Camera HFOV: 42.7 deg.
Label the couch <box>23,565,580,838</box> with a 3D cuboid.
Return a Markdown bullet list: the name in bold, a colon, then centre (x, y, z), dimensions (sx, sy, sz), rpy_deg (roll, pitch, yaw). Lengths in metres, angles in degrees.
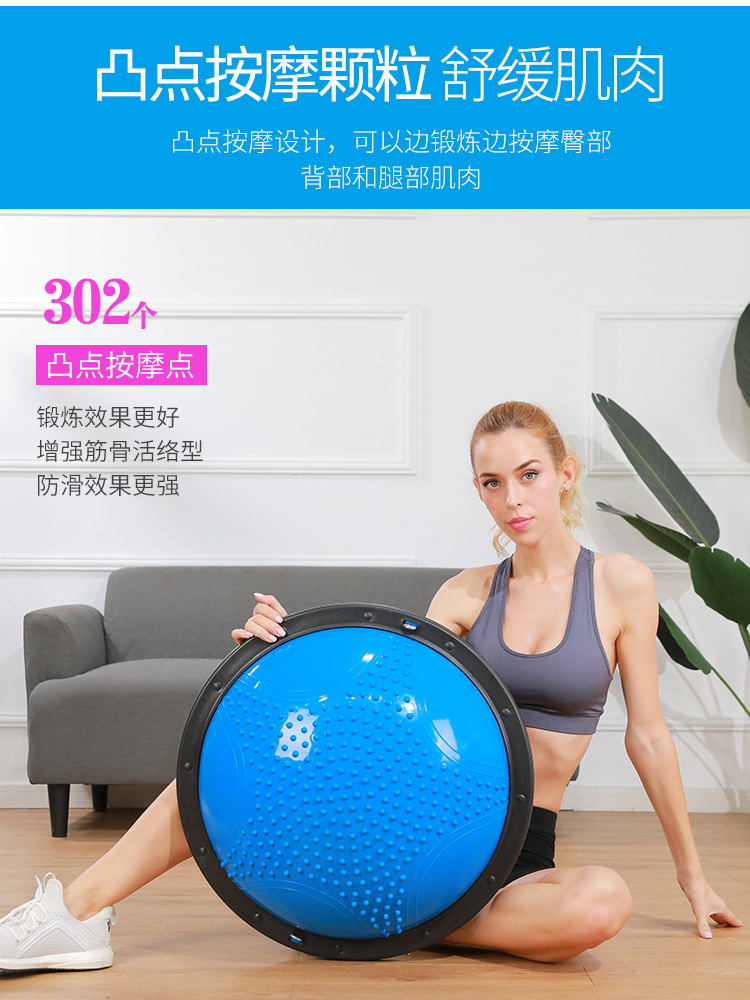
- **couch**: centre (-0.356, 0.543, 2.641), dimensions (1.143, 0.710, 0.515), rpy_deg (-3, -2, 14)

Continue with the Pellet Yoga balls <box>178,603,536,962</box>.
- **Pellet Yoga balls**: centre (-0.033, 0.416, 1.390), dimensions (0.516, 0.526, 0.193), rpy_deg (1, -5, -7)

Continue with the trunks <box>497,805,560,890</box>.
- **trunks**: centre (0.253, 0.573, 1.588), dimensions (0.099, 0.091, 0.122), rpy_deg (4, -7, 6)

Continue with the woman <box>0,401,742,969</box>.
- **woman**: centre (0.044, 0.377, 1.863), dimensions (1.411, 0.987, 0.683), rpy_deg (3, -8, -23)

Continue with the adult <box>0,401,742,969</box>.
- **adult**: centre (0.041, 0.376, 1.868), dimensions (1.411, 0.987, 0.683), rpy_deg (3, -8, -23)

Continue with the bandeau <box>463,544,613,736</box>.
- **bandeau**: centre (0.285, 0.238, 1.652), dimensions (0.244, 0.305, 0.173), rpy_deg (1, -2, 31)
